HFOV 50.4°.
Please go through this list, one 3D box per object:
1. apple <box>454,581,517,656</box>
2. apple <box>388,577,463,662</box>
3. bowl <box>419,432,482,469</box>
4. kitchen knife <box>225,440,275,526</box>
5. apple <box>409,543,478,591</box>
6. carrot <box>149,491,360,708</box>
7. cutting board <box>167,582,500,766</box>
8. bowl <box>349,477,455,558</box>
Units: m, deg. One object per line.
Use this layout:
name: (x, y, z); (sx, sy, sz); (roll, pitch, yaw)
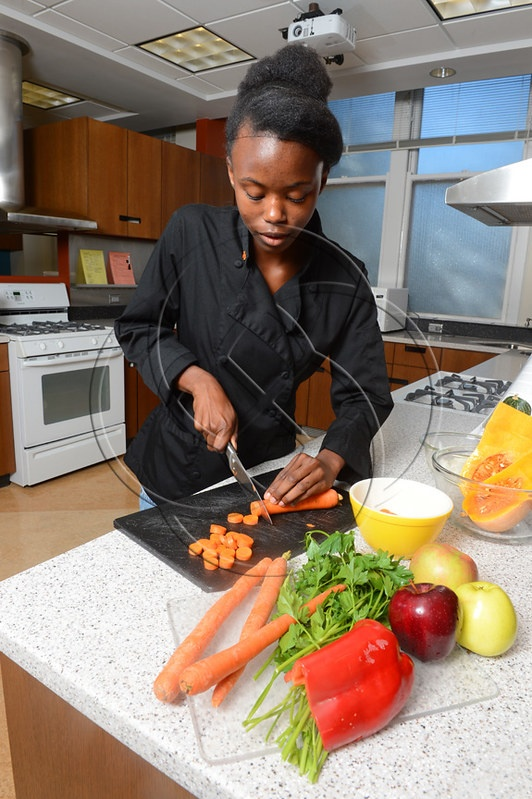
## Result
apple: (0.197, 0.200, 0.543); (0.063, 0.063, 0.066); (-2, 8, 2)
apple: (0.131, 0.185, 0.503); (0.063, 0.071, 0.065); (-6, -2, 7)
bowl: (0.290, 0.067, 0.897); (0.071, 0.032, 0.071); (0, 9, 0)
kitchen knife: (-0.017, 0.085, 0.573); (0.007, 0.130, 0.018); (-33, 55, -10)
apple: (0.184, 0.173, 0.584); (0.051, 0.053, 0.051); (21, 1, -2)
carrot: (-0.013, 0.168, 0.531); (0.062, 0.040, 0.228); (9, 24, 25)
cutting board: (0.057, 0.229, 0.532); (0.280, 0.024, 0.203); (-1, 12, -19)
bowl: (0.168, 0.113, 0.690); (0.106, 0.063, 0.108); (5, 11, -1)
